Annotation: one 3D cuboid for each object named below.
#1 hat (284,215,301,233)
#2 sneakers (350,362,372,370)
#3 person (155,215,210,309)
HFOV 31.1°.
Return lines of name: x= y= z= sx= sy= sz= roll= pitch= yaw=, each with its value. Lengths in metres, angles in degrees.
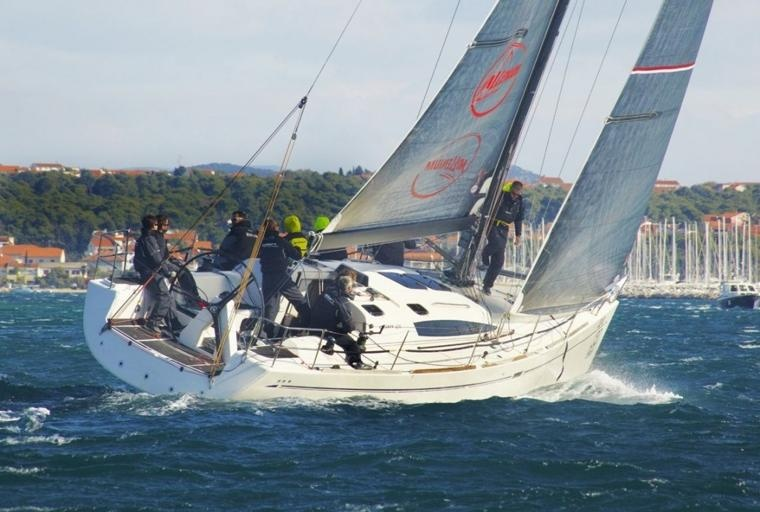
hat: x=-1.742 y=-0.623 z=25.753 sx=0.319 sy=0.300 sz=0.394 roll=4 pitch=12 yaw=18
sneakers: x=-0.361 y=1.934 z=24.119 sx=0.273 sy=0.085 sz=0.157 roll=-1 pitch=11 yaw=2
person: x=-3.688 y=0.240 z=25.244 sx=0.625 sy=2.274 sz=0.669 roll=-2 pitch=15 yaw=42
